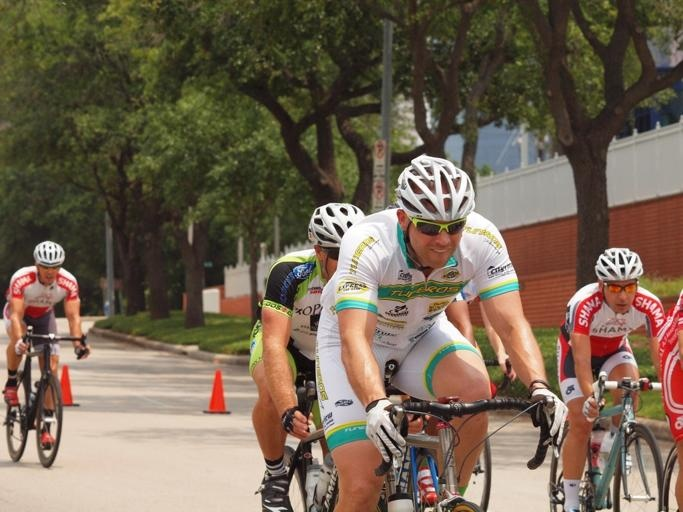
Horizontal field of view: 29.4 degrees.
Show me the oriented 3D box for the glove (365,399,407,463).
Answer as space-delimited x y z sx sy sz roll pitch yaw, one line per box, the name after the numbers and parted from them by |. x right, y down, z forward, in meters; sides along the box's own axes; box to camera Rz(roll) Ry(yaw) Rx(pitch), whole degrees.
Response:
0.436 1.760 13.368 0.250 0.556 0.470 -23 -33 -39 | glove

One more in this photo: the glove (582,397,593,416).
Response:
2.970 1.819 15.643 0.065 0.199 0.138 8 2 13 | glove

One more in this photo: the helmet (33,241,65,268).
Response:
-4.352 -0.017 19.355 0.408 0.432 0.509 0 -7 -14 | helmet

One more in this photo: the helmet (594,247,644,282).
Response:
3.494 0.112 16.383 0.540 0.446 0.356 -3 -7 10 | helmet

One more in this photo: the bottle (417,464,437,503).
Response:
0.912 2.416 13.664 0.122 0.383 0.302 1 -7 -19 | bottle

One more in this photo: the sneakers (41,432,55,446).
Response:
-4.218 2.670 18.821 0.264 0.252 0.155 -5 -7 31 | sneakers

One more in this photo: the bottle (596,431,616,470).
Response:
3.281 2.419 16.099 0.105 0.422 0.300 9 -6 3 | bottle
